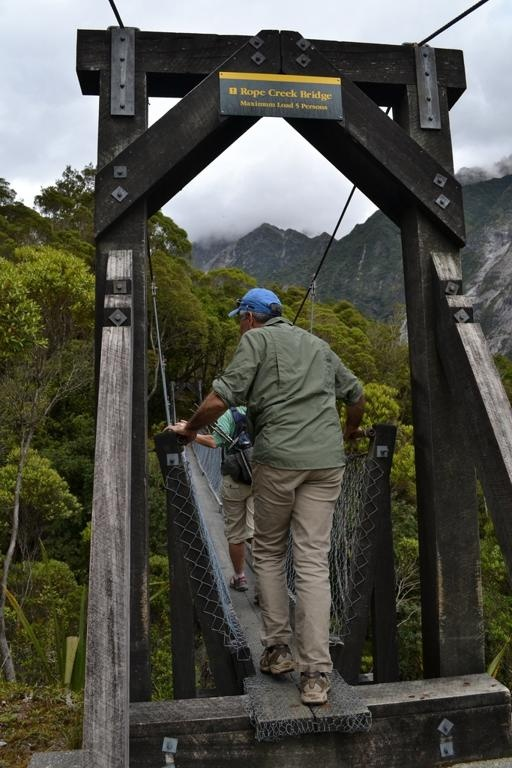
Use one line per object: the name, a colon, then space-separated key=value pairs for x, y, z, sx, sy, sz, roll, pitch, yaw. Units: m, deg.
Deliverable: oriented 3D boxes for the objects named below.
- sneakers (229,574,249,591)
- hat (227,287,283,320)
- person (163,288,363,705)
sneakers: x=-0.083 y=0.982 z=3.700 sx=0.051 sy=0.053 sz=0.110 roll=1 pitch=-5 yaw=-6
hat: x=-0.009 y=-0.295 z=2.686 sx=0.163 sy=0.098 sz=0.117 roll=3 pitch=11 yaw=20
person: x=0.054 y=0.318 z=2.431 sx=0.715 sy=1.282 sz=0.428 roll=5 pitch=-13 yaw=-21
